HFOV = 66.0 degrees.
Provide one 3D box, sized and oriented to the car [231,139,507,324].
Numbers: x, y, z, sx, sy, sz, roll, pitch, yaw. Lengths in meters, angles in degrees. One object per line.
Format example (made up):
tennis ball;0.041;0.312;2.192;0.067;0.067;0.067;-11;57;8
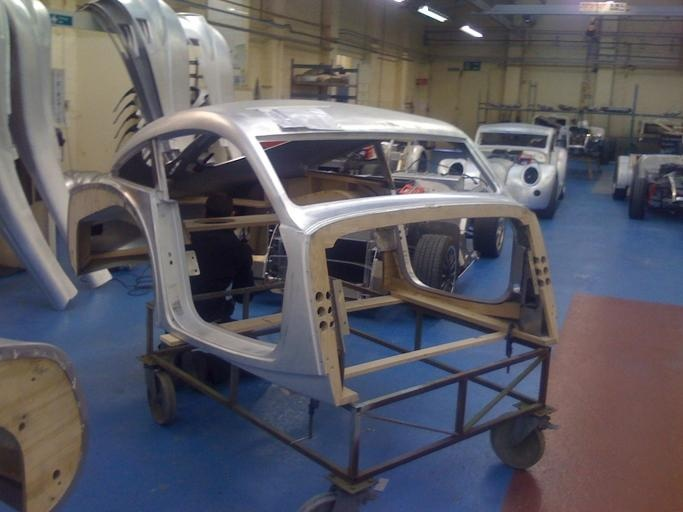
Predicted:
car;0.499;-0.497;5.786;2.026;1.421;3.076;6;5;34

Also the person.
person;-1.015;0.039;4.299;0.338;1.022;0.615;15;24;40
